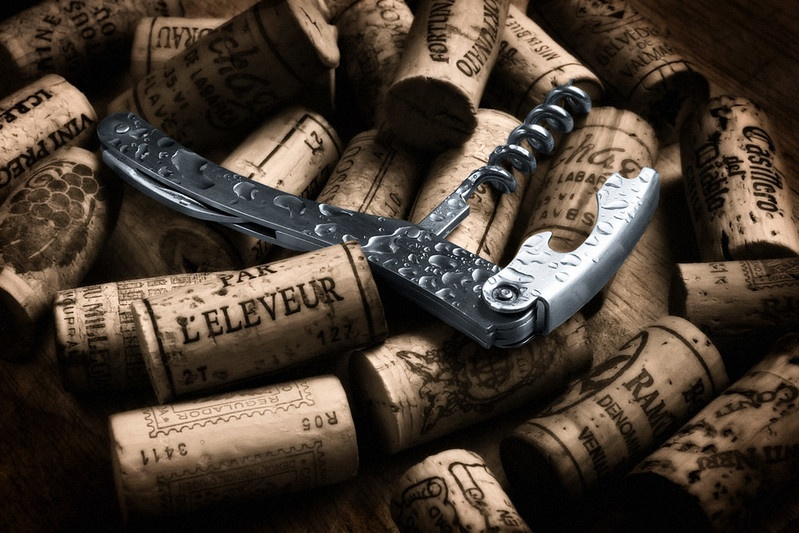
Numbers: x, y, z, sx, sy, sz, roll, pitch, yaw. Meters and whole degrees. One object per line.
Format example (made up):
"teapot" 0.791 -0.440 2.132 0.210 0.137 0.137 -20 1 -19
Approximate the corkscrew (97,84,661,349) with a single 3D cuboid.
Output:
"corkscrew" -0.073 -0.125 2.688 0.493 0.581 0.450 9 57 -37
